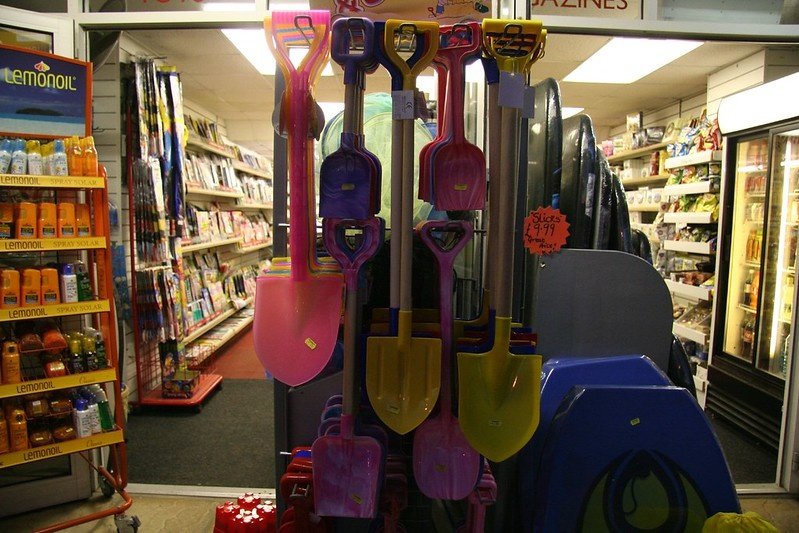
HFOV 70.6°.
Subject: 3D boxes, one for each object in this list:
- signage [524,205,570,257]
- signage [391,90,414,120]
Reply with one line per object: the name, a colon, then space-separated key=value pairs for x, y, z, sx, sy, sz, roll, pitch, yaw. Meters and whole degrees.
signage: x=0.729 y=-0.172 z=2.824 sx=0.263 sy=0.273 sz=0.015 roll=-1 pitch=7 yaw=-6
signage: x=0.018 y=-0.690 z=2.409 sx=0.121 sy=0.120 sz=0.030 roll=-4 pitch=3 yaw=-2
